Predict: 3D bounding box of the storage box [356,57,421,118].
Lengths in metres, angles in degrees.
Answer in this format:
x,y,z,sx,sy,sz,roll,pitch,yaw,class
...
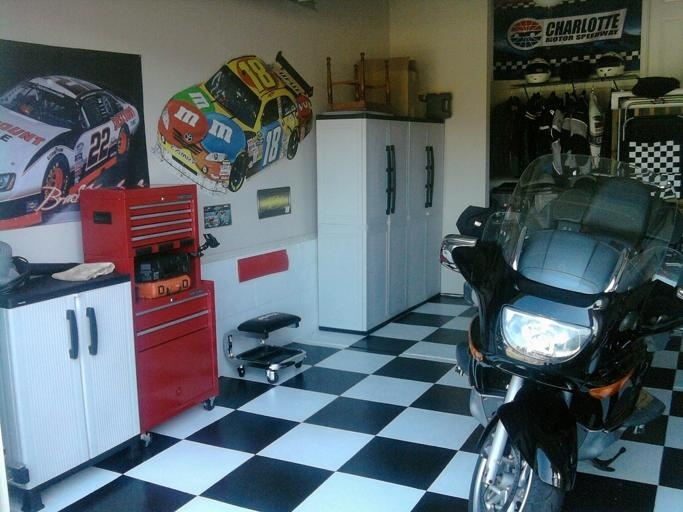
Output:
x,y,z,sx,sy,sz,roll,pitch,yaw,class
0.557,-1.879,5.757,0.477,0.694,0.376,3,10,24,storage box

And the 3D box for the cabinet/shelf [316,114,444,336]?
x,y,z,sx,sy,sz,roll,pitch,yaw,class
0.543,-0.474,5.791,0.596,2.106,2.100,5,11,30,cabinet/shelf

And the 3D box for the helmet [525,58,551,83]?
x,y,z,sx,sy,sz,roll,pitch,yaw,class
2.636,-2.427,6.918,0.263,0.322,0.342,0,3,27,helmet

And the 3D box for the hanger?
x,y,z,sx,sy,sz,roll,pitch,yaw,class
2.838,-2.176,7.066,1.533,0.437,0.382,3,12,21,hanger

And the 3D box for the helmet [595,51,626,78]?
x,y,z,sx,sy,sz,roll,pitch,yaw,class
3.419,-2.421,6.621,0.280,0.288,0.341,25,16,40,helmet
